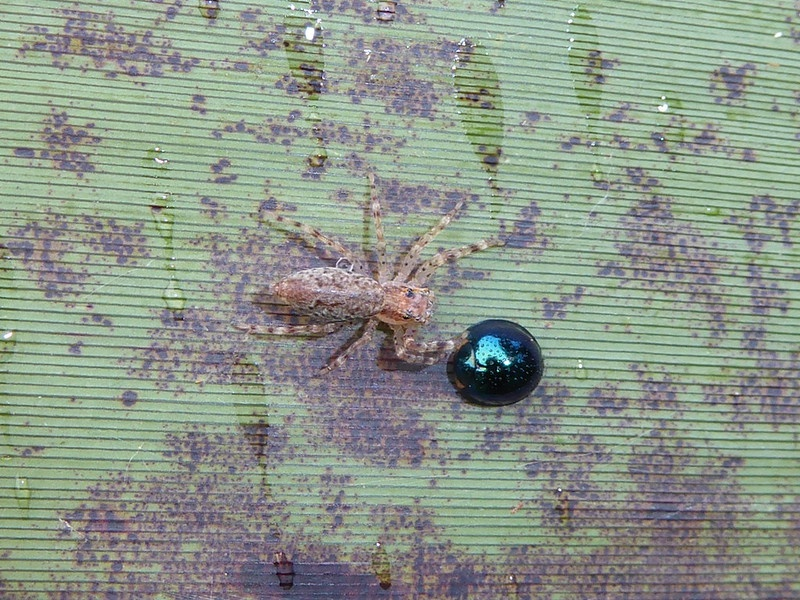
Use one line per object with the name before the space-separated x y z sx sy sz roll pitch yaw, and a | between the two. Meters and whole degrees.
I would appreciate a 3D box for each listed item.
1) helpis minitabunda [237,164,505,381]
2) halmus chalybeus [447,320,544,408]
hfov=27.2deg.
helpis minitabunda | -0.315 -0.286 20.617 2.522 2.532 0.777 16 -17 -8
halmus chalybeus | 1.195 0.742 20.608 1.140 1.050 0.462 12 -18 4
